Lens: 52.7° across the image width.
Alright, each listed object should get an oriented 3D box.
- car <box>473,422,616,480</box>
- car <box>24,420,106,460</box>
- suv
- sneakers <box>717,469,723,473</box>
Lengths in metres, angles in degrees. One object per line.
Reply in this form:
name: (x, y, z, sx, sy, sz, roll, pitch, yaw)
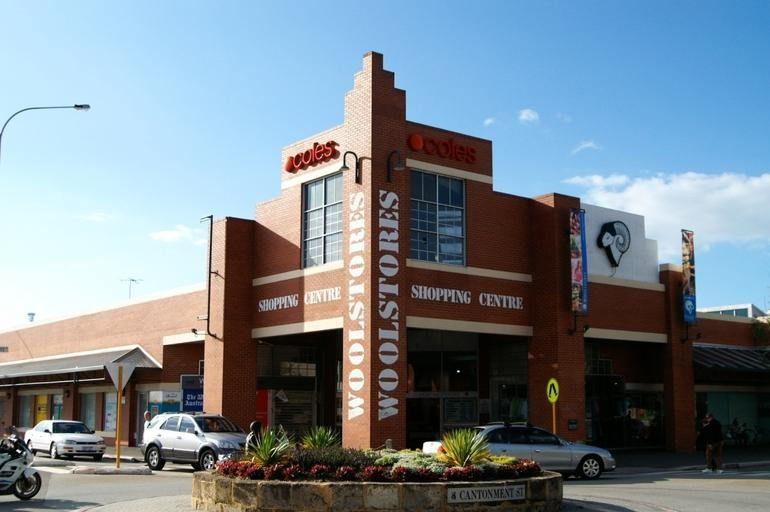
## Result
car: (5.948, 7.420, 29.102, 5.125, 1.623, 2.165, 2, -8, -12)
car: (-15.753, 8.943, 37.878, 1.939, 1.484, 4.525, 10, -18, -36)
suv: (-7.703, 7.509, 31.772, 5.203, 2.362, 1.282, -15, -22, 35)
sneakers: (13.616, 8.798, 31.636, 0.187, 0.081, 0.249, 1, -6, -19)
